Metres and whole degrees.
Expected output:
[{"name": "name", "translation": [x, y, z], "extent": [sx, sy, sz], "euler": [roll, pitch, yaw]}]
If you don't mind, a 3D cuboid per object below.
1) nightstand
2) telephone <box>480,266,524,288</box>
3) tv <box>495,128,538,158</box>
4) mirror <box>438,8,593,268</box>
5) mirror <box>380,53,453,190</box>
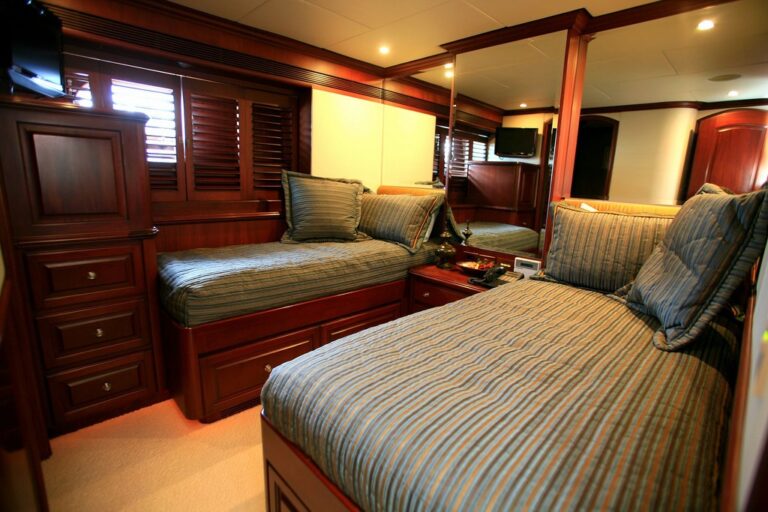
[{"name": "nightstand", "translation": [0.520, 0.226, 3.966], "extent": [0.370, 0.530, 0.601], "euler": [-14, 22, -37]}, {"name": "telephone", "translation": [0.863, 0.171, 3.725], "extent": [0.212, 0.051, 0.233], "euler": [3, 9, 44]}, {"name": "tv", "translation": [1.066, -0.908, 3.933], "extent": [0.279, 0.189, 0.038], "euler": [11, 13, 39]}, {"name": "mirror", "translation": [1.160, -1.054, 4.179], "extent": [1.151, 1.801, 0.519], "euler": [-4, 42, 10]}, {"name": "mirror", "translation": [0.325, -1.308, 4.636], "extent": [0.585, 0.976, 1.045], "euler": [-13, 20, -38]}]
